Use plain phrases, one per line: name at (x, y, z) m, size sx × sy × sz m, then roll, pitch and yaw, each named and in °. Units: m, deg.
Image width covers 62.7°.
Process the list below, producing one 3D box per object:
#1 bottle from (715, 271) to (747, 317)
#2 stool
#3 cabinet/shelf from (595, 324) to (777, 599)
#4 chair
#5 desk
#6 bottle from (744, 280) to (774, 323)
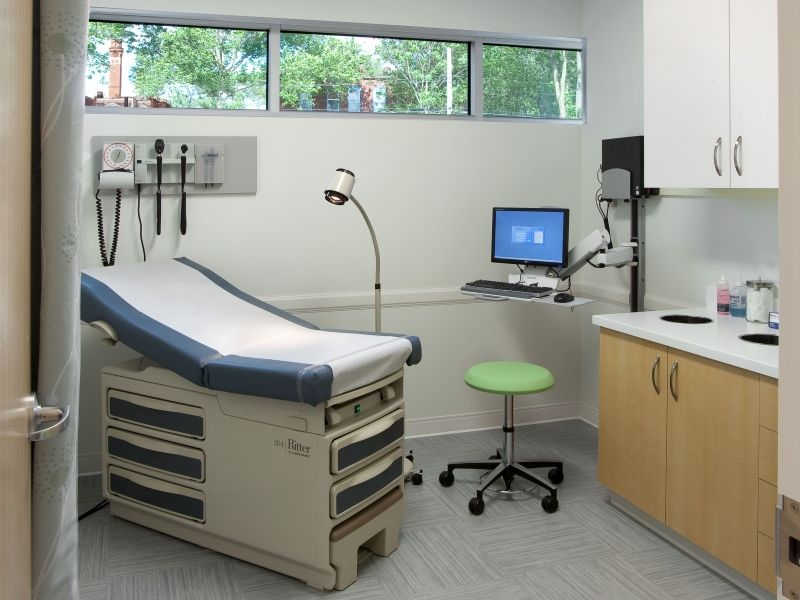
bottle at (1.598, -0.015, 3.177) m, size 0.196 × 0.216 × 0.141 m, roll 0°, pitch 3°, yaw 27°
stool at (0.585, 0.696, 3.531) m, size 0.667 × 0.676 × 0.693 m, roll -2°, pitch 5°, yaw -3°
cabinet/shelf at (1.213, 0.682, 2.740) m, size 0.387 × 0.772 × 1.019 m, roll -1°, pitch 3°, yaw -14°
chair at (-0.638, 0.501, 3.233) m, size 1.578 × 1.367 × 1.094 m, roll 2°, pitch 5°, yaw 30°
desk at (0.957, -0.221, 3.842) m, size 1.041 × 0.405 × 0.643 m, roll -7°, pitch 13°, yaw -33°
bottle at (1.646, 0.010, 2.999) m, size 0.115 × 0.187 × 0.088 m, roll 5°, pitch 12°, yaw 26°
